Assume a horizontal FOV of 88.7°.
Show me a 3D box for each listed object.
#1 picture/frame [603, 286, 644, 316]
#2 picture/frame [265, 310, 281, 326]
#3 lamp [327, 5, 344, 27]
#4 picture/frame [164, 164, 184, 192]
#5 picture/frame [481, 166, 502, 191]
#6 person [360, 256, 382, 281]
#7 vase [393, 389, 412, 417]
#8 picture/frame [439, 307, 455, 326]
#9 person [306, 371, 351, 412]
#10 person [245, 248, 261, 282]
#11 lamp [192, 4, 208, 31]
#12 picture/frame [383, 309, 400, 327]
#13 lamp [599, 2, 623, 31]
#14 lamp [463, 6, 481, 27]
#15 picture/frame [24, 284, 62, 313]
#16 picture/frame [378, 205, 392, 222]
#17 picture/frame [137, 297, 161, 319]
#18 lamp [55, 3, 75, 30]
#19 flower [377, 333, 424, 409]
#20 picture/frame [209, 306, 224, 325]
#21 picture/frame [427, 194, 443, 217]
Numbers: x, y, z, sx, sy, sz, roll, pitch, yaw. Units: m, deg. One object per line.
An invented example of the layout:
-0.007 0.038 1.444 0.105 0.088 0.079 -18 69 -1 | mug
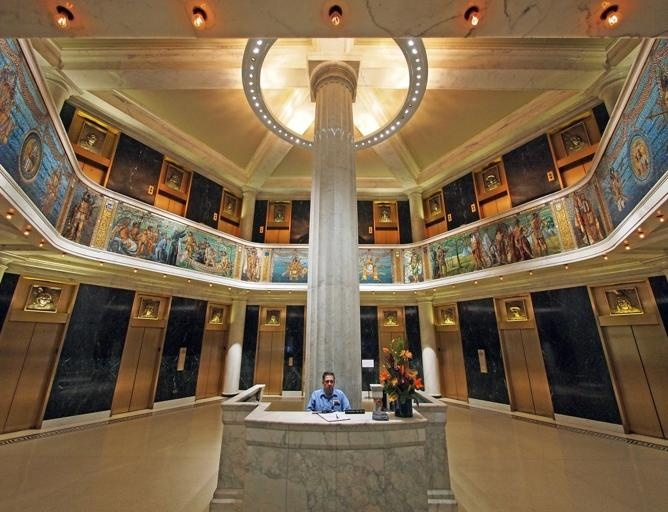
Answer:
8.326 1.283 9.787 0.089 0.747 0.627 8 -26 -35 | picture/frame
-2.641 2.711 14.849 0.597 0.667 0.084 0 -25 -1 | picture/frame
0.018 -2.727 3.881 0.165 0.094 0.183 1 -7 -2 | lamp
-6.410 -3.110 13.654 0.114 1.178 0.918 -12 -17 31 | picture/frame
6.293 -3.071 13.620 0.109 1.176 0.829 16 -21 -35 | picture/frame
1.525 0.555 14.044 0.868 1.096 0.232 0 -26 -1 | person
1.055 2.319 5.513 0.320 0.410 0.338 0 -6 -3 | vase
4.712 2.501 14.133 0.208 0.668 0.673 9 -15 -21 | picture/frame
-0.103 2.429 6.200 0.745 0.646 0.235 1 -8 -1 | person
-3.335 0.304 13.977 0.704 1.329 0.282 4 -9 -26 | person
-1.530 -2.687 3.849 0.140 0.153 0.037 0 26 4 | lamp
2.494 2.676 14.876 0.654 0.691 0.201 -1 -8 9 | picture/frame
3.072 -2.674 3.807 0.188 0.214 0.189 30 -22 -35 | lamp
1.559 -2.698 3.879 0.118 0.174 0.175 -2 26 7 | lamp
-8.425 1.212 9.857 0.085 0.742 0.623 -10 -27 32 | picture/frame
2.425 -1.986 16.331 0.709 1.369 0.134 1 -18 5 | picture/frame
-6.625 1.799 12.191 0.591 0.871 0.828 0 -15 2 | picture/frame
-3.030 -2.690 3.863 0.153 0.243 0.158 -13 -21 19 | lamp
0.921 2.127 5.701 0.629 1.070 0.693 -3 -29 -8 | flower
-4.877 2.432 14.141 0.098 0.799 0.664 -12 -21 38 | picture/frame
4.611 -2.304 15.520 0.134 1.063 0.860 12 -16 -28 | picture/frame
